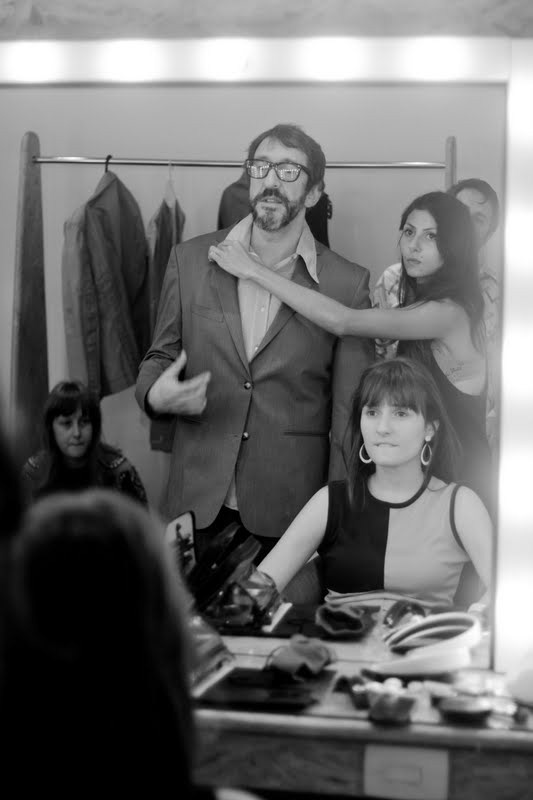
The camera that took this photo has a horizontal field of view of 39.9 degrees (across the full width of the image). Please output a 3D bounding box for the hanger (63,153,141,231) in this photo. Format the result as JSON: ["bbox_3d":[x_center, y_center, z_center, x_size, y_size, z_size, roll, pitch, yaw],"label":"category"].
[{"bbox_3d":[-0.274,-0.355,1.243,0.095,0.159,0.020,4,20,11],"label":"hanger"}]
